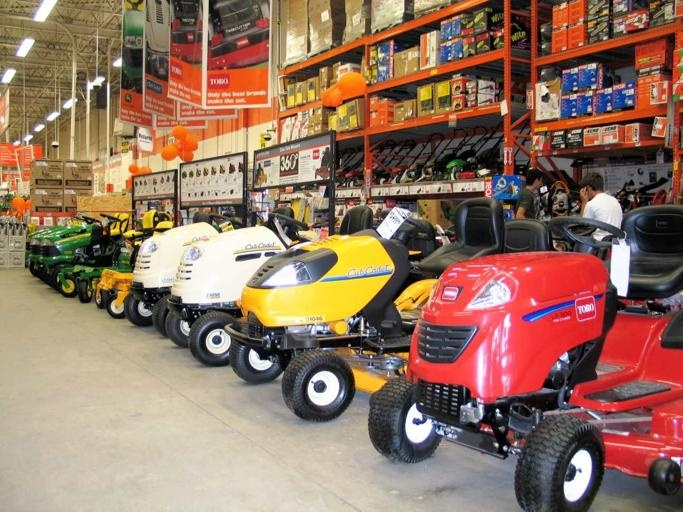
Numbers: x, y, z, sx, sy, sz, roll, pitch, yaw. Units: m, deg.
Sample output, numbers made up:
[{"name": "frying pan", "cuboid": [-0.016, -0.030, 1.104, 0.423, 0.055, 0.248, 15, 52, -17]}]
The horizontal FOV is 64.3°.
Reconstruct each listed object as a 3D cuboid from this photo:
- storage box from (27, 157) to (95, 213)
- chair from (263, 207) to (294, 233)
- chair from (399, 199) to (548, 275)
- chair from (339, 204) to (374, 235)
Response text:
[{"name": "storage box", "cuboid": [-8.658, -2.491, 16.693, 1.670, 1.677, 0.500, -2, 6, -24]}, {"name": "chair", "cuboid": [-0.544, -0.447, 5.004, 0.298, 0.273, 0.229, 8, -9, -30]}, {"name": "chair", "cuboid": [1.158, -0.240, 4.385, 0.588, 0.845, 0.984, 3, 2, 37]}, {"name": "chair", "cuboid": [0.144, -0.397, 4.727, 0.241, 0.363, 0.322, 3, 3, 38]}]
